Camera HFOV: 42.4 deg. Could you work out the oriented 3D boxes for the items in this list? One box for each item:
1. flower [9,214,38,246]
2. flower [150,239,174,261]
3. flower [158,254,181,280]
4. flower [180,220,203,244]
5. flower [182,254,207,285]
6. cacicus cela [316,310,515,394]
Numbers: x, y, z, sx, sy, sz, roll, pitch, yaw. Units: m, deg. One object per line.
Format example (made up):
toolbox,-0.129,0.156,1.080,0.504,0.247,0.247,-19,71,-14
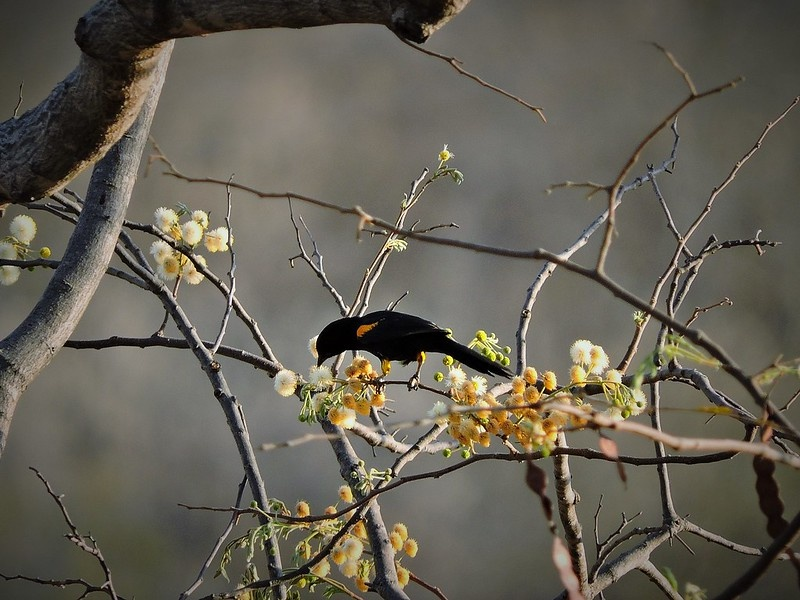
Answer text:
flower,-1.256,-0.236,3.443,0.096,0.051,0.112,12,-101,-8
flower,-0.784,-0.167,3.398,0.060,0.069,0.071,8,-110,-7
flower,-0.768,-0.114,3.412,0.069,0.032,0.083,3,-89,16
flower,-0.679,-0.221,3.347,0.062,0.026,0.075,3,-95,6
flower,-0.692,-0.109,3.447,0.082,0.032,0.102,9,-69,15
cacicus cela,0.027,0.142,3.382,0.629,0.191,0.291,-9,-97,18
